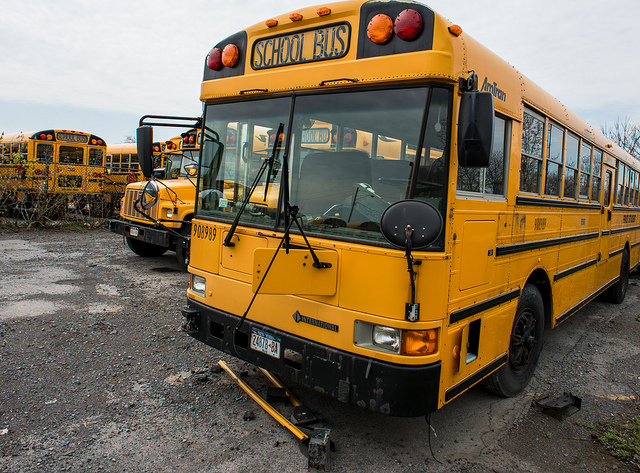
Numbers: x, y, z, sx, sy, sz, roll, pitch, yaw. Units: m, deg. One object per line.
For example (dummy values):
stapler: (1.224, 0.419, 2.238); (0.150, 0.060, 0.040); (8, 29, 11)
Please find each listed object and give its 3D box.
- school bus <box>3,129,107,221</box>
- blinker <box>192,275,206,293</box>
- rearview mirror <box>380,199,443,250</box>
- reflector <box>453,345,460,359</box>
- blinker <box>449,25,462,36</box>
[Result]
school bus: (-9.985, -2.293, 16.279); (3.550, 3.392, 4.907); (-2, 11, -28)
blinker: (-1.307, 0.501, 4.687); (0.157, 0.176, 0.043); (10, 4, 30)
rearview mirror: (0.696, -0.111, 3.311); (0.296, 0.403, 0.388); (-2, 8, -42)
reflector: (1.183, 1.000, 3.790); (0.090, 0.109, 0.017); (-5, 11, -41)
blinker: (1.112, -1.681, 3.529); (0.138, 0.067, 0.076); (-6, 13, -43)
